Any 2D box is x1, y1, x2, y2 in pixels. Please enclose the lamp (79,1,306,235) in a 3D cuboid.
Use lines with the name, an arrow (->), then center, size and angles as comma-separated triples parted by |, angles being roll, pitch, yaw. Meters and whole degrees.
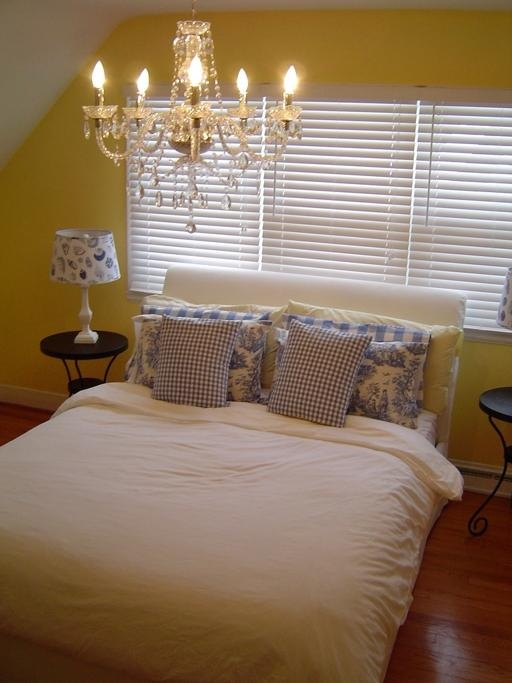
lamp -> -0.183, -0.685, 1.881 | 0.663, 0.655, 0.652 | 9, 17, 31
